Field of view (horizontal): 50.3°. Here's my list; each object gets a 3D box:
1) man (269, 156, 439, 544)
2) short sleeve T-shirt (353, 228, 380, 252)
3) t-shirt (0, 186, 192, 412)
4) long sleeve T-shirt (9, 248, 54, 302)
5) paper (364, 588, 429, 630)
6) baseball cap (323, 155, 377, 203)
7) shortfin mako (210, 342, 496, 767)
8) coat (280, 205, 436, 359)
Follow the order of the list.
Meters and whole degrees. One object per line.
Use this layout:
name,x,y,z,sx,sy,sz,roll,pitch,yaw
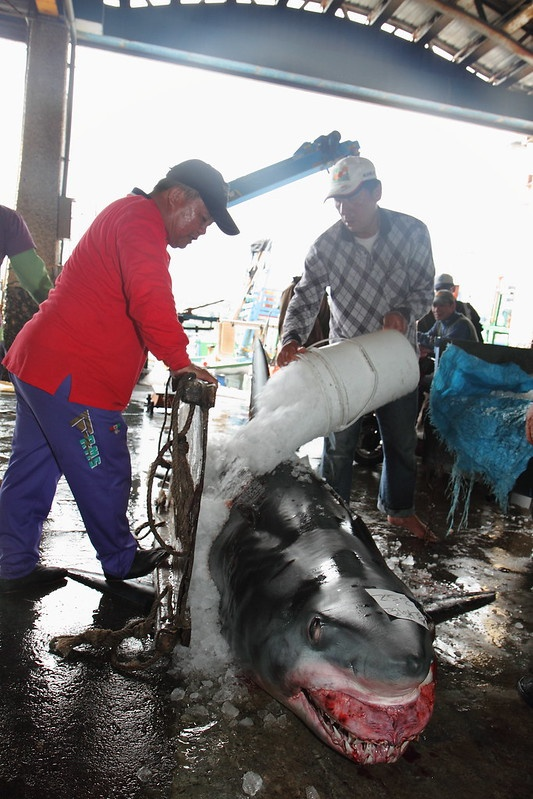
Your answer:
man,0.540,-0.233,3.367,0.968,2.295,0.784,-3,7,-13
short sleeve T-shirt,0.590,-0.920,3.297,0.084,0.110,0.110,10,-3,5
t-shirt,-0.627,-0.383,2.176,0.787,0.861,0.365,7,7,7
long sleeve T-shirt,-1.281,-0.684,3.143,0.171,0.071,0.297,39,-14,5
paper,0.373,0.573,1.556,0.178,0.066,0.154,4,6,-16
baseball cap,0.468,-1.239,3.174,0.272,0.271,0.227,8,7,17
shortfin mako,0.187,0.507,1.785,0.641,0.396,0.929,1,14,-12
coat,0.561,-0.648,3.469,0.910,0.949,0.499,-5,19,2
